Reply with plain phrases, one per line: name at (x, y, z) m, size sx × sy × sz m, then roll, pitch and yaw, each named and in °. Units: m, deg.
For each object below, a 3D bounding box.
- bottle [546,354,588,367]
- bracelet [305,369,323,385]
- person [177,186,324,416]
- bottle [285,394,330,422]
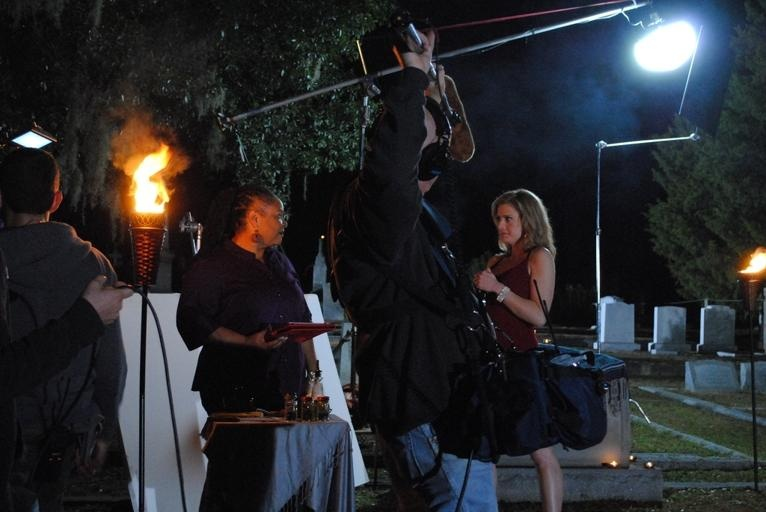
bottle at (1.795, 0.996, 7.339) m, size 0.276 × 0.066 × 0.153 m, roll 2°, pitch -3°, yaw -43°
bracelet at (-0.726, 1.239, 7.833) m, size 0.156 × 0.142 × 0.133 m, roll -7°, pitch -1°, yaw 14°
person at (-1.473, 0.423, 8.109) m, size 1.398 × 2.426 × 0.700 m, roll 0°, pitch -10°, yaw -16°
bottle at (-0.752, 1.492, 7.493) m, size 0.374 × 0.178 × 0.222 m, roll -1°, pitch -3°, yaw -1°
